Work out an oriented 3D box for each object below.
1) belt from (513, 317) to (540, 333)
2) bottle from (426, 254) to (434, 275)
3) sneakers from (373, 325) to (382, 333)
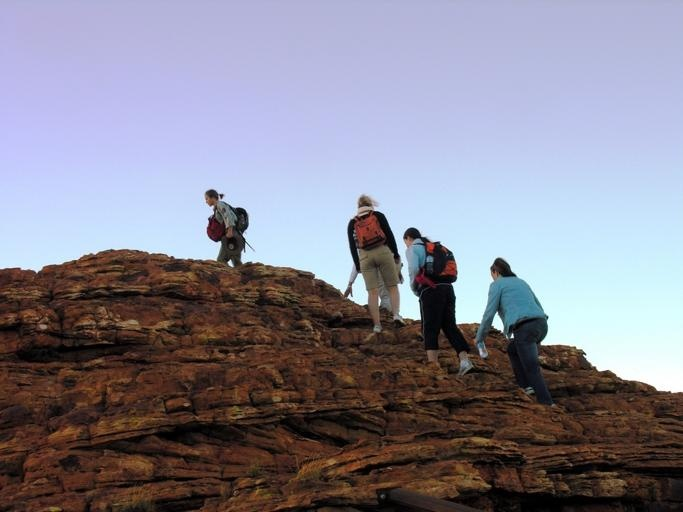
[{"bbox_3d":[3.766,1.382,13.221,0.632,0.191,0.227,-19,-36,26],"label":"belt"},{"bbox_3d":[1.920,0.179,13.994,0.152,0.307,0.200,1,2,-13],"label":"bottle"},{"bbox_3d":[0.882,1.769,15.662,0.178,0.121,0.339,-1,-11,0],"label":"sneakers"}]
